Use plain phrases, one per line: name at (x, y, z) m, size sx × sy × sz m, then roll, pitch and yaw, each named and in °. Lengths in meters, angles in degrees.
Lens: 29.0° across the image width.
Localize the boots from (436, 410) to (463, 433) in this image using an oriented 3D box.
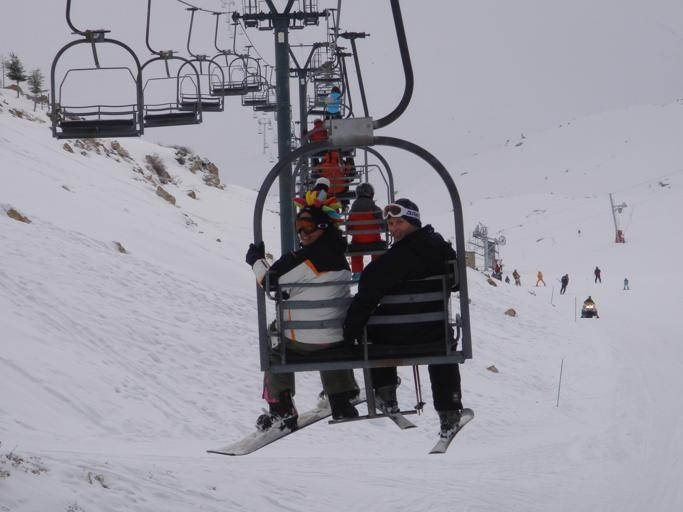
boots at (2.531, 3.965, 31.571) m, size 0.294 × 0.563 × 0.870 m, roll -1°, pitch 12°, yaw 34°

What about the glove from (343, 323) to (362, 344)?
glove at (0.205, 1.895, 31.145) m, size 0.456 × 0.406 × 0.436 m, roll 2°, pitch -3°, yaw -1°

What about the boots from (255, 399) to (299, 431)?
boots at (-1.531, 3.828, 31.494) m, size 0.997 × 0.585 × 0.604 m, roll 4°, pitch -4°, yaw 6°
